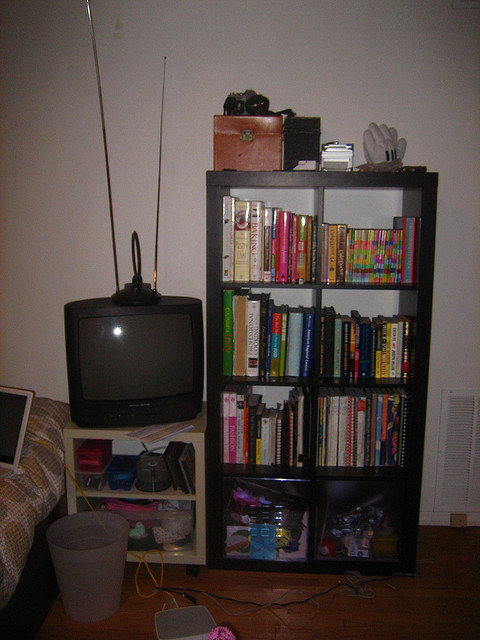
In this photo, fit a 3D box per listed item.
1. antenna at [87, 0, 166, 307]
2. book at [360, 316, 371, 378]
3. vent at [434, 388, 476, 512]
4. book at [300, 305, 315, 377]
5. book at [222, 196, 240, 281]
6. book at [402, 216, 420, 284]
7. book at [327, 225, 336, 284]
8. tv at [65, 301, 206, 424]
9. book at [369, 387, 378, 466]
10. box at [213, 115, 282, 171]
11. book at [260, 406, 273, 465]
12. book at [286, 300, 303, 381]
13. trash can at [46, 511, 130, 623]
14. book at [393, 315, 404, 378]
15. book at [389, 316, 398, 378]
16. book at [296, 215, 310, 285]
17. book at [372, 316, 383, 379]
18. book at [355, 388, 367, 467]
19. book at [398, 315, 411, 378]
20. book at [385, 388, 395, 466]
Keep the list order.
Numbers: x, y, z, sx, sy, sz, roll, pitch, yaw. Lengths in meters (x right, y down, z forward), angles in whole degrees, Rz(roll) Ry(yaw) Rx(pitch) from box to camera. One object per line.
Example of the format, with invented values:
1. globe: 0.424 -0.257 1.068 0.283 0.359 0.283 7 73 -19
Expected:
1. antenna: -0.402 -0.635 2.248 0.293 1.097 0.536 -3 13 -12
2. book: 0.466 0.116 2.175 0.037 0.169 0.118 1 4 7
3. vent: 0.950 0.579 2.575 0.155 0.554 0.070 -1 13 -3
4. book: 0.257 0.087 2.202 0.039 0.189 0.171 4 9 8
5. book: -0.040 -0.294 2.129 0.051 0.304 0.021 4 14 19
6. book: 0.618 -0.250 2.118 0.053 0.238 0.029 6 14 24
7. book: 0.337 -0.240 2.125 0.033 0.209 0.011 0 13 1
8. tv: -0.408 0.107 2.350 0.643 0.612 0.398 -2 9 -12
9. book: 0.514 0.429 2.254 0.025 0.295 0.013 3 13 13
10. box: 0.030 -0.635 2.102 0.297 0.232 0.181 2 20 3
11. book: 0.104 0.462 2.280 0.067 0.210 0.187 1 8 8
12. book: 0.205 0.097 2.181 0.056 0.246 0.106 1 13 5
13. trash can: -0.506 0.840 2.066 0.310 0.302 0.300 4 7 12
14. book: 0.597 0.104 2.194 0.033 0.159 0.145 3 9 6
15. book: 0.574 0.112 2.181 0.027 0.210 0.021 3 13 14
16. book: 0.230 -0.255 2.128 0.041 0.245 0.031 0 13 2
17. book: 0.524 0.105 2.200 0.034 0.161 0.148 3 0 14
18. book: 0.475 0.421 2.297 0.043 0.294 0.115 3 13 11
19. book: 0.617 0.106 2.175 0.034 0.162 0.146 -2 2 6
20. book: 0.578 0.425 2.248 0.026 0.280 0.021 -1 13 -3
